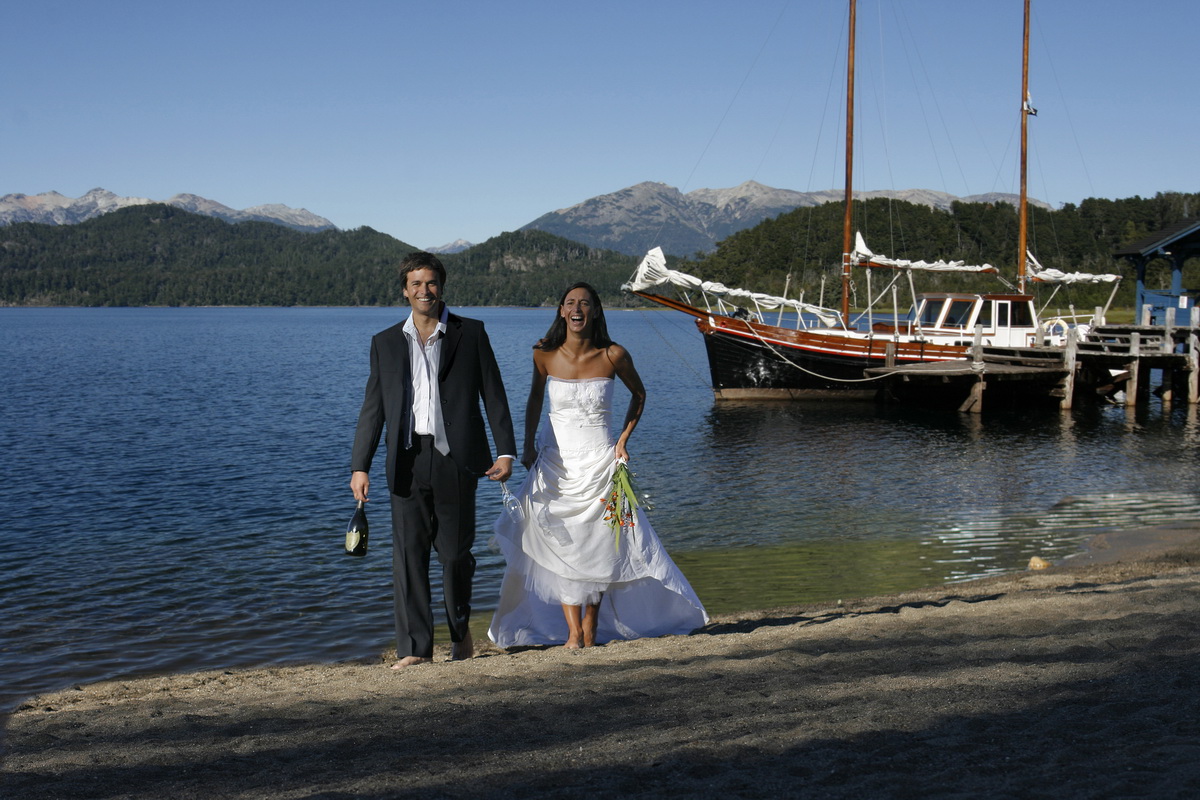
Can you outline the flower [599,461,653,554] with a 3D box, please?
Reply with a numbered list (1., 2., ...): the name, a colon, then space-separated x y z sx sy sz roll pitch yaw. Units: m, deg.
1. flower: 0.243 0.972 9.896 0.457 0.785 0.341 -7 -9 33
